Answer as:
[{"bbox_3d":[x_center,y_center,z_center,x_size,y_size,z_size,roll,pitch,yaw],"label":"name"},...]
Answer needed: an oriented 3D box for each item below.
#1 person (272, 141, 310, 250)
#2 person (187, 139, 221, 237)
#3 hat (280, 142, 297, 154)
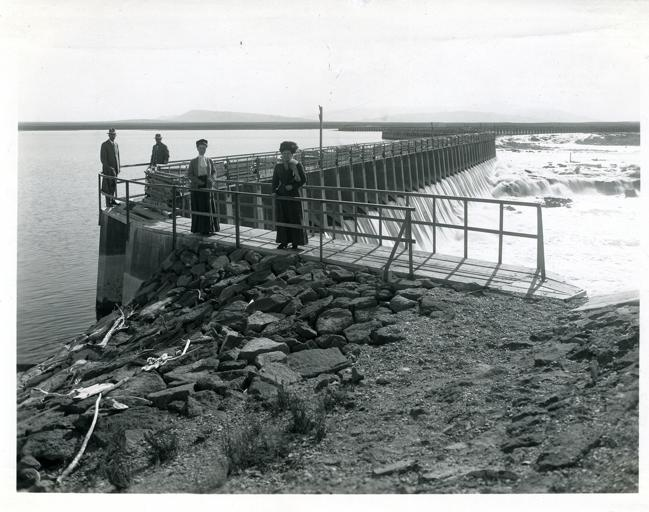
[{"bbox_3d":[-0.703,-1.210,11.928,0.729,2.215,0.987,2,7,-3],"label":"person"},{"bbox_3d":[-2.836,-1.584,13.735,0.740,2.208,1.119,0,7,-13],"label":"person"},{"bbox_3d":[-0.707,-2.152,11.511,0.332,0.236,0.389,1,8,-5],"label":"hat"}]
